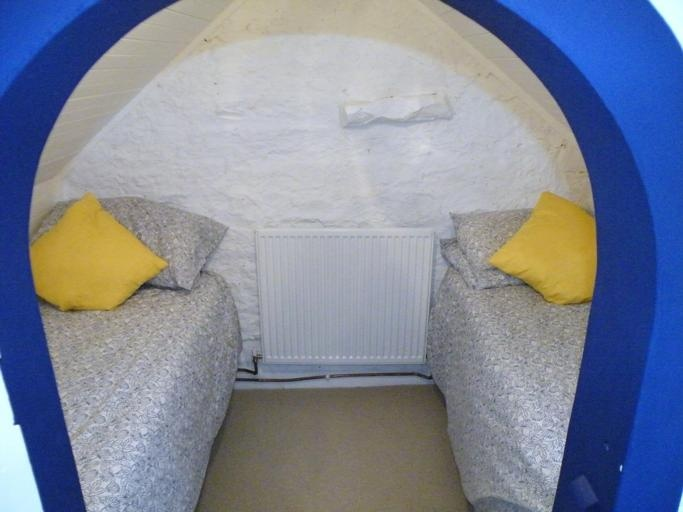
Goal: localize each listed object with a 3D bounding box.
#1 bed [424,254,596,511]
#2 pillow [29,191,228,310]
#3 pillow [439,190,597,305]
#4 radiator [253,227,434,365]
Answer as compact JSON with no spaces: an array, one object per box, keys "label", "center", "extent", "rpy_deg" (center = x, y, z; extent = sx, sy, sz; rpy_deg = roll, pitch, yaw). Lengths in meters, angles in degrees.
[{"label":"bed","center":[0.713,0.530,2.294],"extent":[0.567,1.012,0.996],"rpy_deg":[11,79,4]},{"label":"pillow","center":[-1.041,-0.025,2.632],"extent":[0.621,0.180,0.658],"rpy_deg":[35,51,-5]},{"label":"pillow","center":[0.905,0.023,2.658],"extent":[0.514,0.143,0.523],"rpy_deg":[29,59,24]},{"label":"radiator","center":[0.012,0.247,3.019],"extent":[0.925,0.103,0.785],"rpy_deg":[0,70,2]}]
